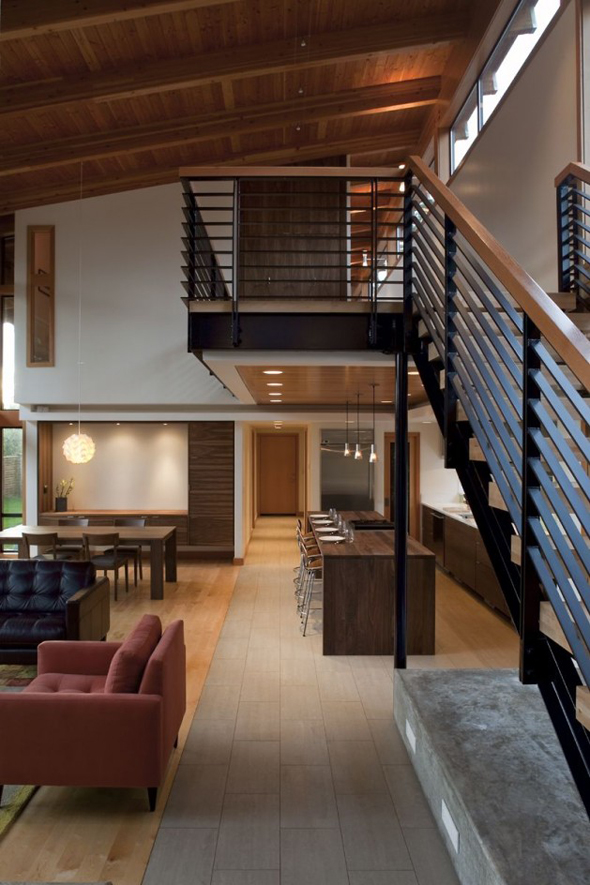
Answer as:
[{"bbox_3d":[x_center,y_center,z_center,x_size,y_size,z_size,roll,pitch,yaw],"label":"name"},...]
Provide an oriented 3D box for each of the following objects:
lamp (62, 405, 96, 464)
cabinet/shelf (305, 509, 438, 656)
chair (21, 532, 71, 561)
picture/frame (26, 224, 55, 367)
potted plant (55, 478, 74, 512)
[{"bbox_3d":[-3.073,-0.092,9.002,0.460,0.847,2.684,0,-1,-19],"label":"lamp"},{"bbox_3d":[0.683,1.281,5.240,0.917,0.864,1.338,0,-1,3],"label":"cabinet/shelf"},{"bbox_3d":[-2.814,1.151,7.098,0.420,0.345,0.604,0,-1,3],"label":"chair"},{"bbox_3d":[-3.465,-1.953,8.583,0.402,1.868,0.293,0,-1,-10],"label":"picture/frame"},{"bbox_3d":[-3.672,0.821,9.924,0.255,0.470,0.463,0,-1,-10],"label":"potted plant"}]
